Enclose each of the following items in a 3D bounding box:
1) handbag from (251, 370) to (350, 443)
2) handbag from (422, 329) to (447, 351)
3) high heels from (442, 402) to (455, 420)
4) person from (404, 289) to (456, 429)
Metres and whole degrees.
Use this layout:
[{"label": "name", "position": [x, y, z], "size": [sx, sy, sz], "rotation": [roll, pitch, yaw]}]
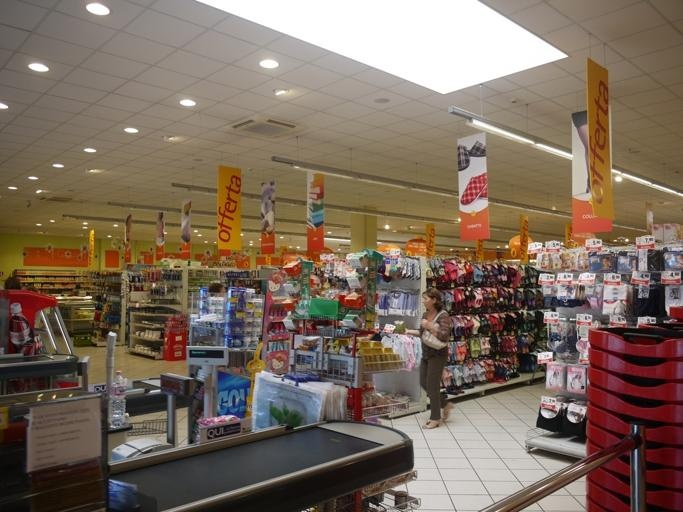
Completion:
[{"label": "handbag", "position": [-0.328, 1.043, 3.512], "size": [0.525, 0.434, 0.199], "rotation": [1, -6, 33]}, {"label": "handbag", "position": [1.262, 1.171, 6.946], "size": [0.330, 0.225, 0.133], "rotation": [28, 40, 16]}, {"label": "high heels", "position": [1.569, 2.289, 7.353], "size": [0.183, 0.365, 0.122], "rotation": [3, 20, -5]}, {"label": "person", "position": [1.263, 1.443, 7.116], "size": [0.531, 2.011, 0.647], "rotation": [6, 1, 25]}]
